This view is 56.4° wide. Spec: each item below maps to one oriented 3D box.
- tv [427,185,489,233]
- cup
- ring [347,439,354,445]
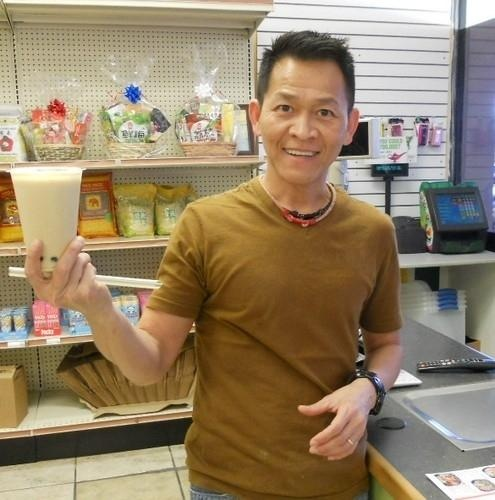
[{"bbox_3d":[1.750,-0.342,3.917,0.445,0.342,0.216,-7,-11,-6],"label":"tv"},{"bbox_3d":[-0.312,-0.055,0.772,0.088,0.175,0.146,-5,10,19],"label":"cup"},{"bbox_3d":[0.213,0.402,0.964,0.016,0.013,0.007,-15,12,-38],"label":"ring"}]
